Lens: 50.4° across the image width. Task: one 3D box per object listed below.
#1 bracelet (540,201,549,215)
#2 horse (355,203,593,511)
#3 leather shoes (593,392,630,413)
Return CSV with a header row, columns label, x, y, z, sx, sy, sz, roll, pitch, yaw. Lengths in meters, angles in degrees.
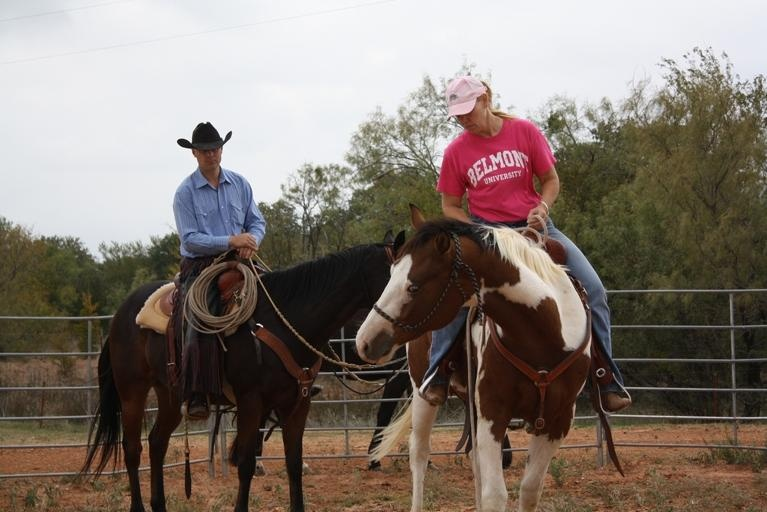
label,x,y,z,sx,sy,sz,roll,pitch,yaw
bracelet,2.454,-0.742,12.477,0.080,0.237,0.152,9,-11,-33
horse,1.524,1.528,12.044,2.996,4.548,1.910,-3,-6,15
leather shoes,3.465,2.232,12.351,0.263,0.230,0.449,-13,-3,-43
